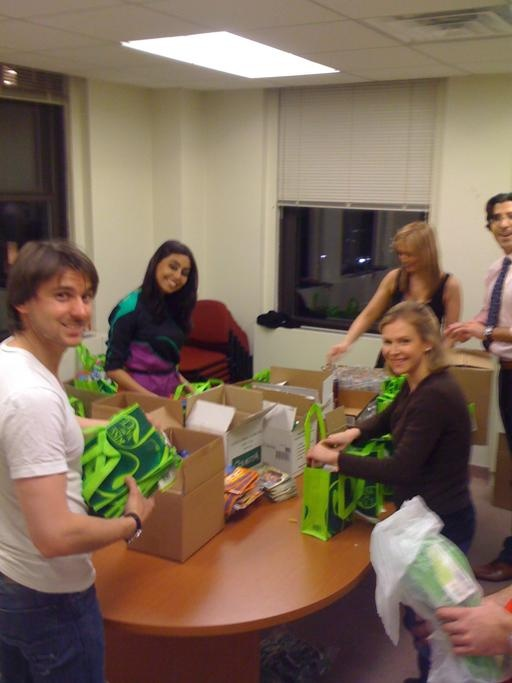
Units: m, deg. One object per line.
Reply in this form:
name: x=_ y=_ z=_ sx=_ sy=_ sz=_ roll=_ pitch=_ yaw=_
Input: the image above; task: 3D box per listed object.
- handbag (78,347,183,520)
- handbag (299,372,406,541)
handbag: x=-0.272 y=0.265 z=1.187 sx=0.181 sy=0.071 sz=0.241 roll=-37 pitch=71 yaw=-28
handbag: x=0.316 y=0.394 z=1.829 sx=0.178 sy=0.419 sz=0.457 roll=8 pitch=15 yaw=31
